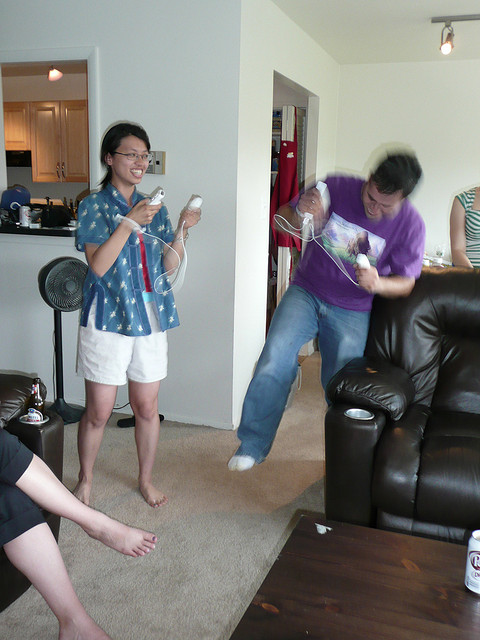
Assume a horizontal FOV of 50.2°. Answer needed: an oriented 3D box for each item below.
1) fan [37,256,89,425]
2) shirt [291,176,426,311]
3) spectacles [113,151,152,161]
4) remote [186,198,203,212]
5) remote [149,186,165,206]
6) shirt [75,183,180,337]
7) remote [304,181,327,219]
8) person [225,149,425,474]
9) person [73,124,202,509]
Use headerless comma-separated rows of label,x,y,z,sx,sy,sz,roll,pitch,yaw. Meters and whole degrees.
fan,-0.984,0.102,2.780,0.296,0.846,0.309,-1,-1,15
shirt,0.464,-0.265,2.113,0.514,0.618,0.301,33,50,16
spectacles,-0.377,-0.568,1.768,0.122,0.029,0.044,-2,8,-23
remote,-0.168,-0.421,1.872,0.068,0.048,0.048,-2,8,-24
remote,-0.292,-0.426,1.766,0.047,0.066,0.071,0,7,-13
shirt,-0.400,-0.212,1.844,0.369,0.550,0.219,-1,7,-19
remote,0.295,-0.466,1.994,0.082,0.142,0.058,3,7,8
person,0.304,-0.053,2.117,0.605,1.337,0.735,27,26,28
person,-0.400,0.030,1.929,0.447,1.462,0.359,-1,7,-21
